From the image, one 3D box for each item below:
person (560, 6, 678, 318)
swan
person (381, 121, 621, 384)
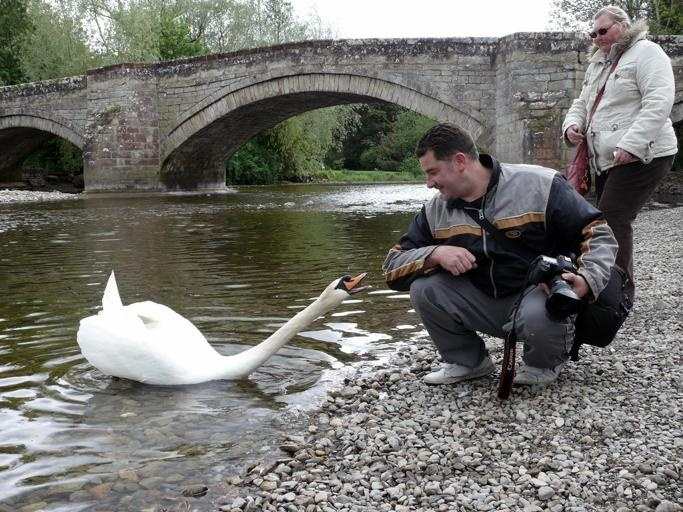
[{"bbox_3d":[2.445,-0.796,5.144,1.339,2.310,1.031,0,5,-9],"label":"person"},{"bbox_3d":[-0.826,0.533,4.584,2.441,1.090,0.727,9,3,-3],"label":"swan"},{"bbox_3d":[1.113,-0.025,4.111,1.221,1.688,1.299,2,4,32],"label":"person"}]
